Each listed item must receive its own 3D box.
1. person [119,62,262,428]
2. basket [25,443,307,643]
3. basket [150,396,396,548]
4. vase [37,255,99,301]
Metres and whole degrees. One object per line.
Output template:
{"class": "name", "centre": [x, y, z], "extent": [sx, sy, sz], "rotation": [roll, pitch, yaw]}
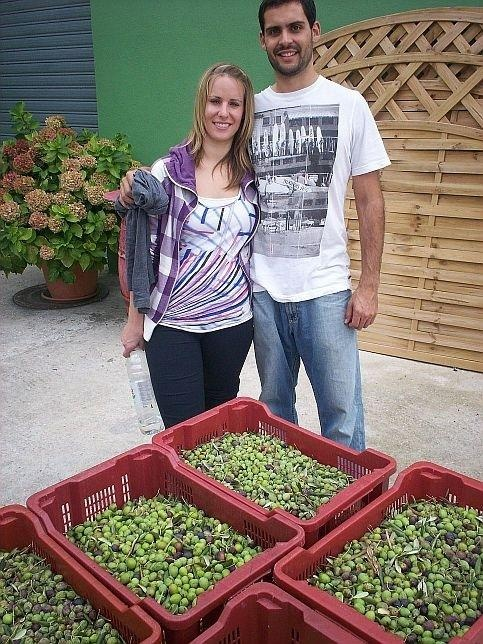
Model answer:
{"class": "person", "centre": [-0.170, -0.259, 1.920], "extent": [0.482, 1.246, 0.273], "rotation": [-11, 15, -40]}
{"class": "basket", "centre": [-0.183, 0.489, 1.332], "extent": [0.481, 0.146, 0.332], "rotation": [20, 31, 41]}
{"class": "basket", "centre": [0.130, 0.406, 1.465], "extent": [0.574, 0.141, 0.382], "rotation": [-14, 36, -42]}
{"class": "vase", "centre": [-1.643, -0.417, 5.176], "extent": [0.416, 0.286, 0.408], "rotation": [0, 12, -5]}
